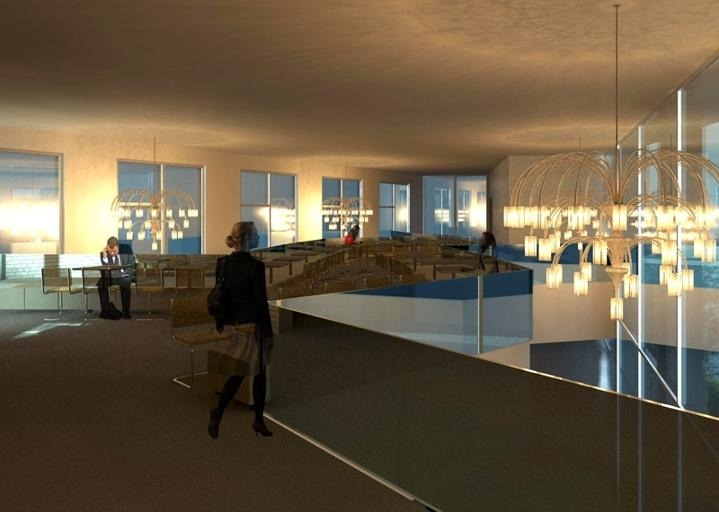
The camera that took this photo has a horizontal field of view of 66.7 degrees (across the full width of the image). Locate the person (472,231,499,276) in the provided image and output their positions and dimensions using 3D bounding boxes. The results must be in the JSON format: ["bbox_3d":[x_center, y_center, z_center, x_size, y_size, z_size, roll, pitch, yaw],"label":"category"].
[{"bbox_3d":[2.504,-0.134,10.683,0.299,0.756,0.180,-5,-22,23],"label":"person"}]

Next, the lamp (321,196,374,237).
[{"bbox_3d":[-0.507,-1.089,14.991,1.159,1.020,1.162,-1,-3,-6],"label":"lamp"}]

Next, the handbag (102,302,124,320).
[{"bbox_3d":[-2.929,0.674,6.436,0.160,0.084,0.256,6,-18,-18],"label":"handbag"}]

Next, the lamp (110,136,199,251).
[{"bbox_3d":[-4.011,-1.066,10.742,1.759,1.998,1.497,-2,5,-13],"label":"lamp"}]
